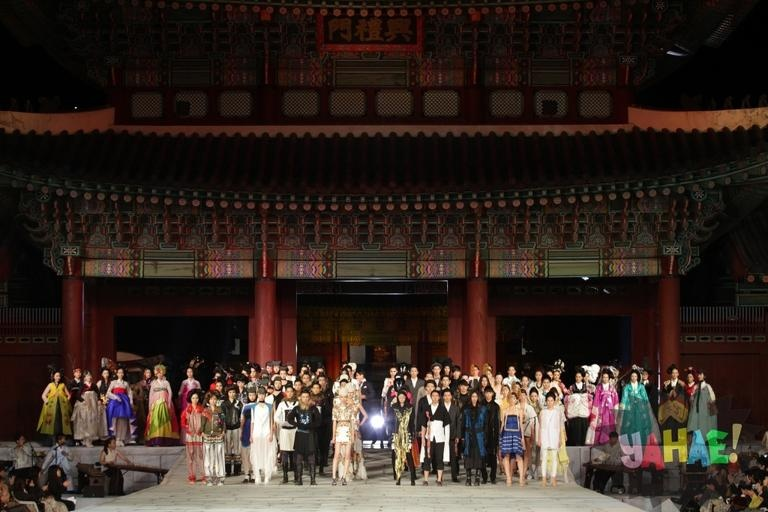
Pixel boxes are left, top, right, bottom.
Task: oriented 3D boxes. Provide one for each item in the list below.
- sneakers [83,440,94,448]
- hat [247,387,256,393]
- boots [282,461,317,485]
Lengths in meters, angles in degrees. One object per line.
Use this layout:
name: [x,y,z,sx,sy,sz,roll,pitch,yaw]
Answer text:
sneakers: [-8.835,5.658,32.703,0.276,0.262,0.228,21,-29,-41]
hat: [-3.643,3.680,29.967,0.182,0.159,0.219,-2,-3,-1]
boots: [-2.277,5.811,29.192,0.674,0.786,0.772,2,-31,-2]
